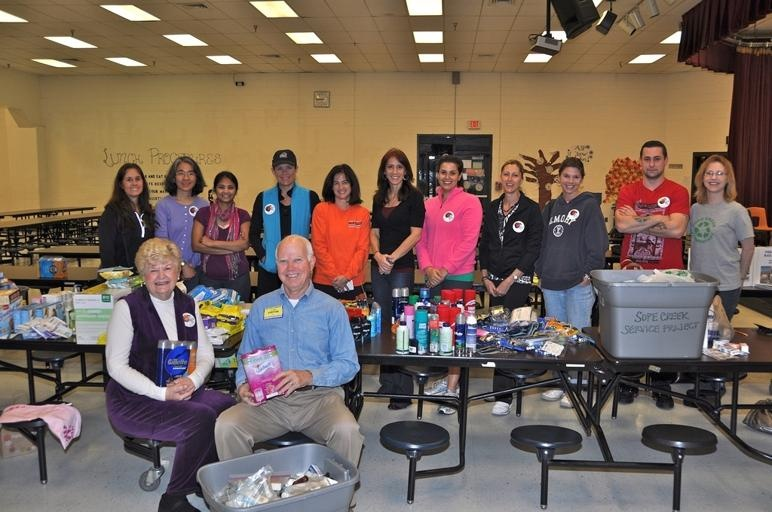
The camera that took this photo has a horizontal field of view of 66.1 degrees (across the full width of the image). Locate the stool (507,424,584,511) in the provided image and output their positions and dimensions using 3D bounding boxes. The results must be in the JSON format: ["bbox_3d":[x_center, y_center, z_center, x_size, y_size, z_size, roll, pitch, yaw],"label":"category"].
[{"bbox_3d":[1.170,1.528,4.598,0.695,0.538,0.653,1,7,2],"label":"stool"}]

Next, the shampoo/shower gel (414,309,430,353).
[{"bbox_3d":[0.290,0.577,4.532,0.106,0.329,0.105,-1,9,2],"label":"shampoo/shower gel"}]

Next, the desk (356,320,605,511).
[{"bbox_3d":[0.208,1.153,4.772,1.935,0.670,1.683,9,1,-29],"label":"desk"}]

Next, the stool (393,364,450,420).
[{"bbox_3d":[0.337,1.226,5.421,0.586,0.554,0.539,0,0,-4],"label":"stool"}]

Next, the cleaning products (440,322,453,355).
[{"bbox_3d":[0.478,0.645,4.542,0.110,0.200,0.096,0,9,6],"label":"cleaning products"}]

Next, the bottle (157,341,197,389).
[{"bbox_3d":[-1.509,0.778,4.253,0.352,0.354,0.162,-8,16,-41],"label":"bottle"}]

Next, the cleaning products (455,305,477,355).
[{"bbox_3d":[0.615,0.587,4.559,0.152,0.309,0.233,-4,9,-21],"label":"cleaning products"}]

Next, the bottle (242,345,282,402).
[{"bbox_3d":[-0.872,0.842,4.186,0.261,0.416,0.116,0,9,6],"label":"bottle"}]
